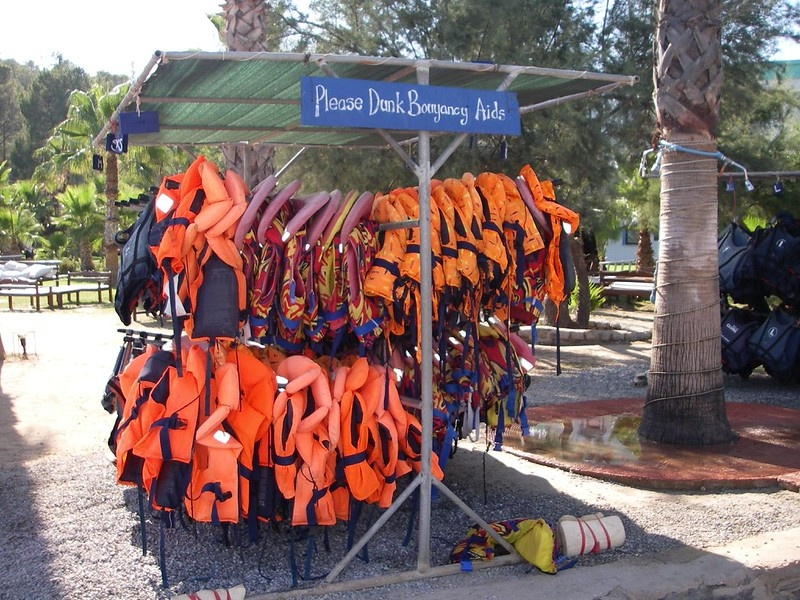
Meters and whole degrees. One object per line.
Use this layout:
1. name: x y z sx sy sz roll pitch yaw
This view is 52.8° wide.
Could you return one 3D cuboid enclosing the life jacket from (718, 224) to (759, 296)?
1. life jacket: 4.399 -0.480 10.473 0.303 0.820 0.591 9 11 -27
